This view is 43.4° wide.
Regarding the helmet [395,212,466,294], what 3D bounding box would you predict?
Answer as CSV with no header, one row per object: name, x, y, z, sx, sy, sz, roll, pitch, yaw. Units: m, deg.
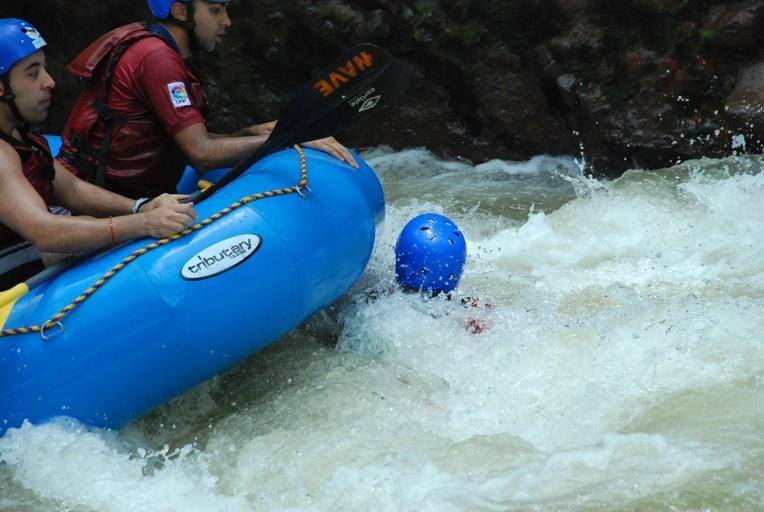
helmet,0.347,-0.034,6.532,0.430,0.543,0.472,13,46,14

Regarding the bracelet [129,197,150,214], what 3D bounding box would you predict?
bracelet,-1.534,-0.307,6.007,0.139,0.041,0.083,-21,32,34

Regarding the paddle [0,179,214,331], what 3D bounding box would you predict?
paddle,-1.563,0.050,5.650,1.406,0.162,0.491,-29,25,-23
